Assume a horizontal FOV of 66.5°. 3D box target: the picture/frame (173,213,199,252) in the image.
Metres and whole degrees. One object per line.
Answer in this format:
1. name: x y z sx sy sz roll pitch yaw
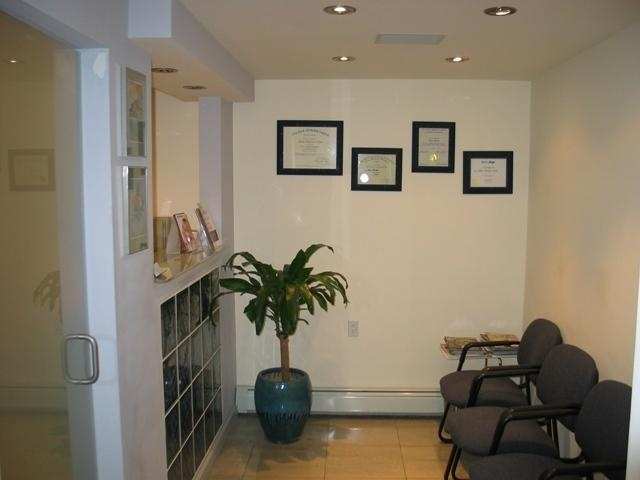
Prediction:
1. picture/frame: -0.990 -0.050 3.570 0.098 0.315 0.259 -14 4 9

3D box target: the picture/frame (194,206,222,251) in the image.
1. picture/frame: -0.832 -0.084 3.611 0.063 0.279 0.290 -15 49 -1

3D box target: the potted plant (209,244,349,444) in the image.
1. potted plant: -0.332 0.773 3.713 0.872 1.512 0.864 -3 11 -13
